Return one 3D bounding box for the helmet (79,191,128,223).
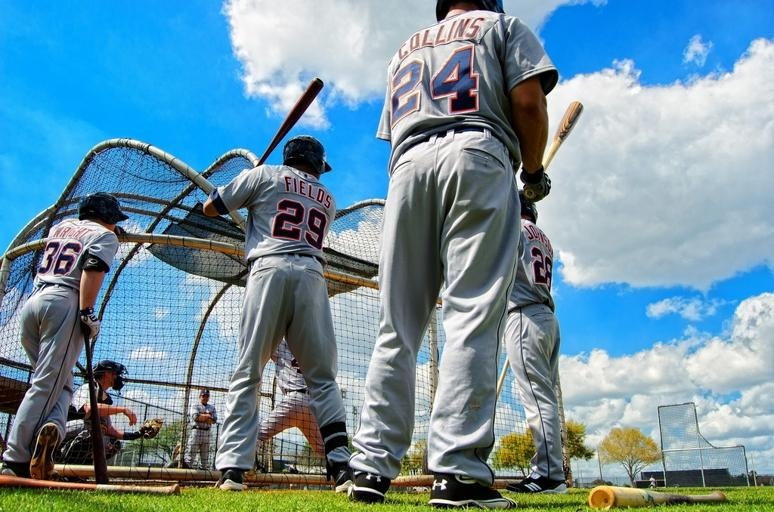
[{"bbox_3d":[-4.396,-0.676,9.864,0.420,0.452,0.606,-15,-28,37],"label":"helmet"}]

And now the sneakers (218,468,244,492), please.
[{"bbox_3d":[-1.974,2.825,8.090,0.352,0.270,0.226,6,-28,-11],"label":"sneakers"}]

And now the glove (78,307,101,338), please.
[{"bbox_3d":[-4.239,0.927,9.056,0.197,0.480,0.167,-2,8,6],"label":"glove"}]
